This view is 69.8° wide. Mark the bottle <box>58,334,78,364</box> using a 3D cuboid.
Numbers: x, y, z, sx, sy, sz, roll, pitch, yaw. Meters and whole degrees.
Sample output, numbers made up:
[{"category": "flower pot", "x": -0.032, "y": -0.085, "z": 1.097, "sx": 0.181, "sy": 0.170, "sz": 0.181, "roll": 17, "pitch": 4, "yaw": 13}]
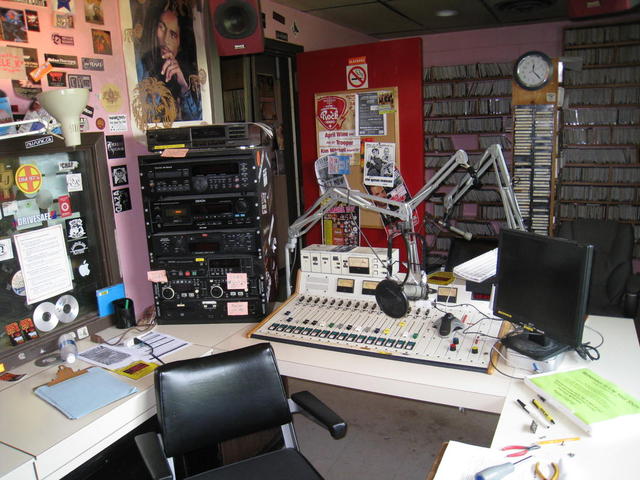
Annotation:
[{"category": "bottle", "x": -1.390, "y": 0.612, "z": 2.534, "sx": 0.069, "sy": 0.075, "sz": 0.117, "roll": -7, "pitch": 43, "yaw": -34}]

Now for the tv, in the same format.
[{"category": "tv", "x": 1.107, "y": 0.304, "z": 2.317, "sx": 0.322, "sy": 0.704, "sz": 0.583, "roll": -9, "pitch": 12, "yaw": -38}]

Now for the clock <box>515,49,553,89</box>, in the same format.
[{"category": "clock", "x": 1.826, "y": -1.456, "z": 3.951, "sx": 0.316, "sy": 0.319, "sz": 0.139, "roll": 3, "pitch": 13, "yaw": 19}]

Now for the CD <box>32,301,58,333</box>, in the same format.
[{"category": "CD", "x": -1.572, "y": 0.447, "z": 2.635, "sx": 0.031, "sy": 0.143, "sz": 0.139, "roll": 0, "pitch": -20, "yaw": 28}]

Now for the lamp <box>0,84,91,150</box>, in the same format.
[{"category": "lamp", "x": -1.356, "y": -0.649, "z": 2.439, "sx": 0.533, "sy": 0.281, "sz": 0.208, "roll": -11, "pitch": 8, "yaw": -8}]

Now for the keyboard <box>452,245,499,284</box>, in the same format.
[{"category": "keyboard", "x": 0.966, "y": 0.121, "z": 2.762, "sx": 0.170, "sy": 0.066, "sz": 0.295, "roll": 17, "pitch": 30, "yaw": 38}]

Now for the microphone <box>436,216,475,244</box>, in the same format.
[{"category": "microphone", "x": 1.474, "y": -0.100, "z": 4.987, "sx": 0.536, "sy": 0.170, "sz": 0.136, "roll": 33, "pitch": -12, "yaw": -15}]
